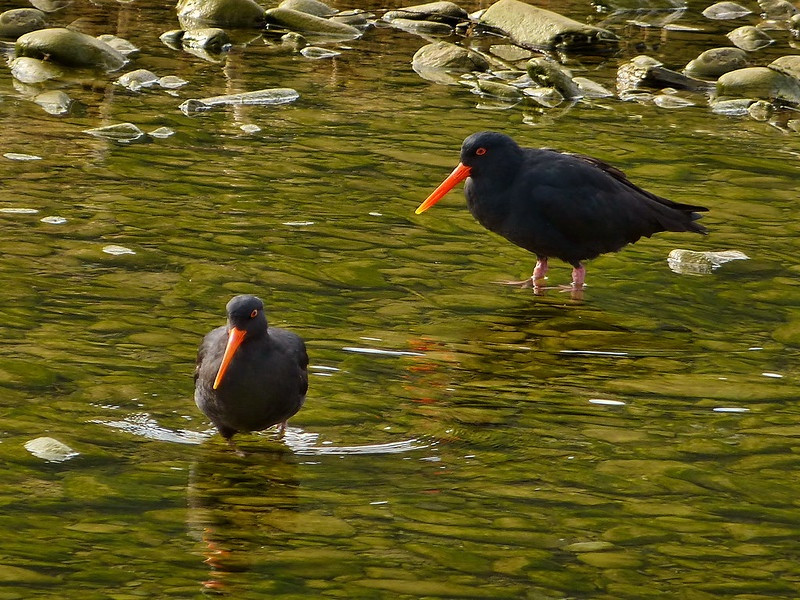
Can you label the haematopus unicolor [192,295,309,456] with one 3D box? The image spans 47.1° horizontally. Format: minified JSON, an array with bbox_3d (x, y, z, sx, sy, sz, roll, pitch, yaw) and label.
[{"bbox_3d":[-0.893,0.435,5.606,0.694,0.939,0.532,6,7,-8],"label":"haematopus unicolor"}]
